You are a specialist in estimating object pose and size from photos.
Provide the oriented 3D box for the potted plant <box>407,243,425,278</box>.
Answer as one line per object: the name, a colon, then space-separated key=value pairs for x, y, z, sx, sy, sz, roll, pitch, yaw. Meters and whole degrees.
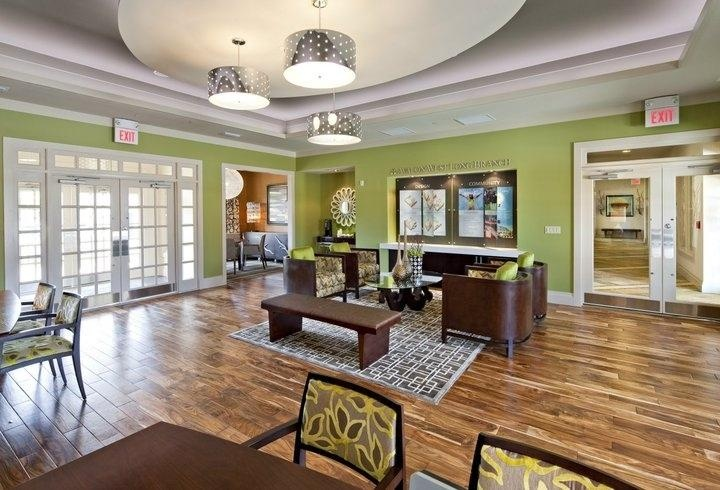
potted plant: x=1.023 y=0.268 z=7.761 sx=0.300 sy=0.606 sz=0.276 roll=-1 pitch=-3 yaw=-39

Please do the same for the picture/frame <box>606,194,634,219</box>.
picture/frame: x=4.590 y=-0.707 z=7.660 sx=0.429 sy=0.401 sz=0.043 roll=4 pitch=9 yaw=34

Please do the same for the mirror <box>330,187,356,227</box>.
mirror: x=-0.376 y=-1.032 z=12.026 sx=1.006 sy=0.989 sz=0.072 roll=-3 pitch=1 yaw=40

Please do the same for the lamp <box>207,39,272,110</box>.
lamp: x=-1.517 y=-2.209 z=5.508 sx=0.775 sy=0.811 sz=0.761 roll=-1 pitch=1 yaw=-19

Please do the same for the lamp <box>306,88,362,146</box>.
lamp: x=-0.337 y=-1.773 z=6.116 sx=0.625 sy=0.640 sz=0.613 roll=0 pitch=0 yaw=1

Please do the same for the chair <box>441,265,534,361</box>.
chair: x=1.828 y=0.945 z=6.432 sx=1.224 sy=1.009 sz=1.073 roll=4 pitch=5 yaw=42

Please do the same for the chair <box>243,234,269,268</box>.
chair: x=-3.052 y=0.105 z=12.530 sx=0.742 sy=0.928 sz=0.772 roll=2 pitch=3 yaw=17

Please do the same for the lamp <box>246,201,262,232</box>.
lamp: x=-3.392 y=-0.934 z=13.855 sx=0.603 sy=0.920 sz=0.210 roll=2 pitch=7 yaw=33

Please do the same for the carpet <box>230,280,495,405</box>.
carpet: x=0.224 y=1.492 z=6.912 sx=3.254 sy=0.036 sz=3.613 roll=10 pitch=4 yaw=19

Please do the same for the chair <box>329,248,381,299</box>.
chair: x=-0.128 y=0.477 z=9.064 sx=0.768 sy=0.800 sz=0.969 roll=5 pitch=9 yaw=25

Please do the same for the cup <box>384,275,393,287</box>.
cup: x=0.503 y=0.617 z=7.511 sx=0.108 sy=0.192 sz=0.204 roll=2 pitch=4 yaw=37

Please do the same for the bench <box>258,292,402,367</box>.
bench: x=-0.394 y=1.178 z=6.172 sx=1.871 sy=0.759 sz=0.674 roll=2 pitch=6 yaw=32

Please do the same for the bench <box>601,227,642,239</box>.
bench: x=4.582 y=-0.214 z=7.628 sx=0.607 sy=0.191 sz=0.140 roll=3 pitch=6 yaw=35

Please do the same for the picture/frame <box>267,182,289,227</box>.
picture/frame: x=-2.458 y=-1.213 z=13.307 sx=0.090 sy=1.219 sz=1.258 roll=2 pitch=7 yaw=26

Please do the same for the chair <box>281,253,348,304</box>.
chair: x=-0.914 y=0.643 z=8.437 sx=1.125 sy=0.888 sz=1.098 roll=7 pitch=9 yaw=44
